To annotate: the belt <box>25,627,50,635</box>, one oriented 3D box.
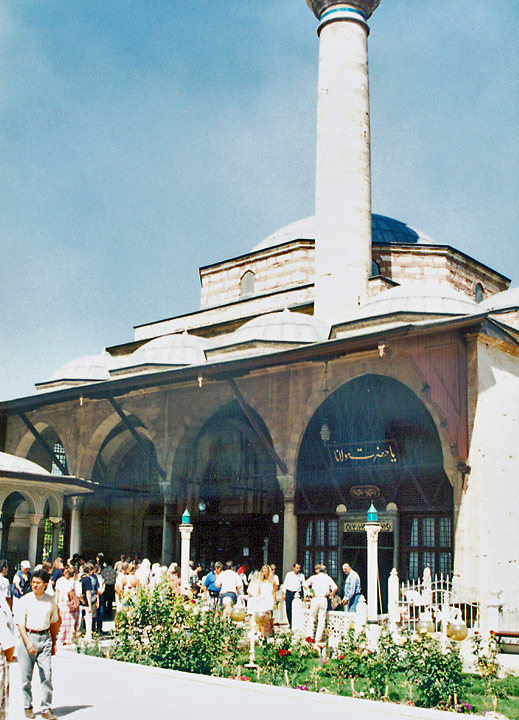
[{"bbox_3d":[-1.521,1.865,6.108,0.142,0.041,0.056,5,-15,-14],"label":"belt"}]
